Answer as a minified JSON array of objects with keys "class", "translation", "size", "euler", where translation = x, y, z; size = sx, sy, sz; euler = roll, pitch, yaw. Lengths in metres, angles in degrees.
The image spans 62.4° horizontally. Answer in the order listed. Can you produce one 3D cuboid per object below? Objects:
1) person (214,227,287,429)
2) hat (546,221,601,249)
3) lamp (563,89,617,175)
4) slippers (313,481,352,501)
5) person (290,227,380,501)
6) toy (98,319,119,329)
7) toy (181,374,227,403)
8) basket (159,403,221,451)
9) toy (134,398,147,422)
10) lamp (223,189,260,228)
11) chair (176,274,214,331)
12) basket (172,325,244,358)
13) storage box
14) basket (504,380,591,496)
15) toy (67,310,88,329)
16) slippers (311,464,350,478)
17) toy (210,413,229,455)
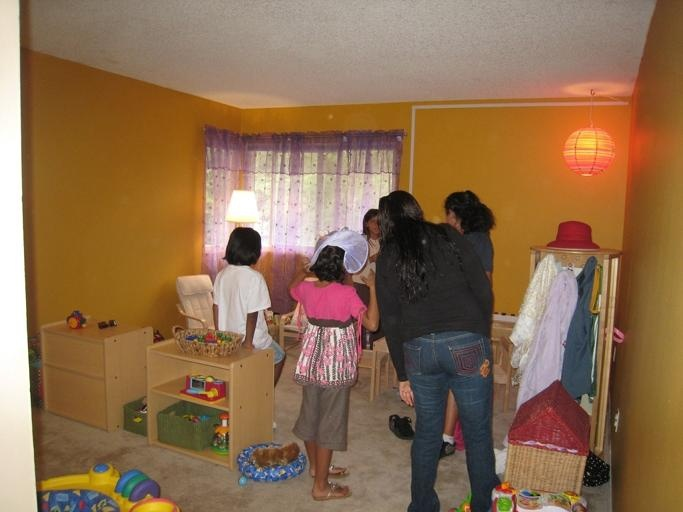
[{"class":"person","translation":[-0.674,0.377,4.225],"size":[0.562,1.193,0.391],"euler":[3,6,-13]},{"class":"hat","translation":[1.705,-0.199,4.095],"size":[0.250,0.135,0.241],"euler":[-11,12,-32]},{"class":"lamp","translation":[2.426,-1.046,5.537],"size":[0.443,0.447,0.255],"euler":[7,6,21]},{"class":"slippers","translation":[-0.069,1.529,3.705],"size":[0.195,0.078,0.114],"euler":[0,-3,-8]},{"class":"person","translation":[-0.084,0.696,3.637],"size":[0.529,1.754,0.595],"euler":[4,5,-11]},{"class":"toy","translation":[-1.948,0.559,4.721],"size":[0.088,0.054,0.144],"euler":[-4,-7,44]},{"class":"toy","translation":[-1.019,0.935,4.116],"size":[0.384,0.152,0.150],"euler":[7,5,22]},{"class":"basket","translation":[-1.112,1.255,4.247],"size":[0.404,0.203,0.301],"euler":[5,7,27]},{"class":"toy","translation":[-1.594,1.221,4.497],"size":[0.077,0.101,0.232],"euler":[1,-8,-6]},{"class":"lamp","translation":[-1.193,-0.613,6.987],"size":[0.467,0.469,0.474],"euler":[0,10,-3]},{"class":"chair","translation":[-1.602,0.500,6.151],"size":[0.393,0.541,0.804],"euler":[3,5,-15]},{"class":"basket","translation":[-0.983,0.580,4.076],"size":[0.390,0.133,0.240],"euler":[-1,-2,30]},{"class":"storage box","translation":[1.273,1.182,3.658],"size":[0.585,0.733,0.709],"euler":[4,4,23]},{"class":"basket","translation":[1.276,1.145,3.699],"size":[0.587,0.717,0.700],"euler":[5,4,22]},{"class":"toy","translation":[-2.226,0.527,4.728],"size":[0.139,0.153,0.146],"euler":[-14,-4,16]},{"class":"slippers","translation":[-0.078,1.480,3.939],"size":[0.254,0.110,0.123],"euler":[-2,-4,-11]},{"class":"toy","translation":[-0.885,1.254,4.088],"size":[0.068,0.304,0.211],"euler":[0,7,-37]}]
